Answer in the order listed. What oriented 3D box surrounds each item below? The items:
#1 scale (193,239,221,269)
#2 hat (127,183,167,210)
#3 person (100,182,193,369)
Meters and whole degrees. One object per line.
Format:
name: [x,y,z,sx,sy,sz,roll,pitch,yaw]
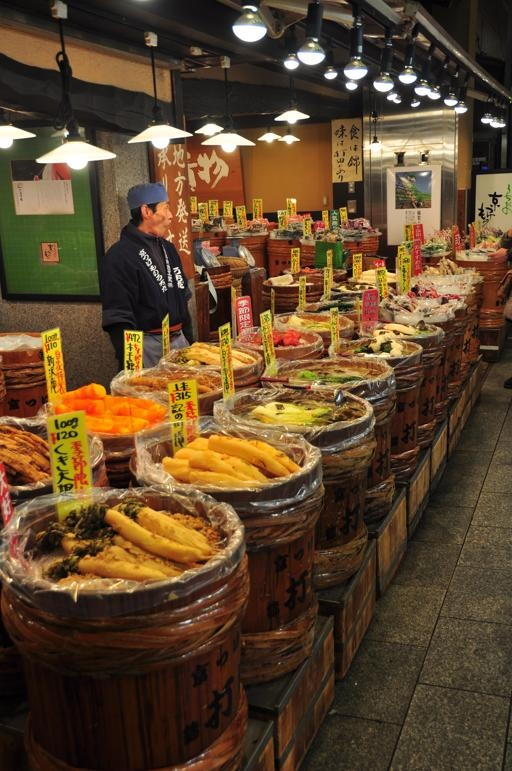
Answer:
scale: [-0.540,-1.426,6.213,0.281,0.294,0.498,-4,10,-4]
hat: [-0.695,-1.202,3.631,0.184,0.113,0.180,-23,35,-23]
person: [-0.708,-0.670,3.670,0.464,1.343,0.532,19,22,36]
